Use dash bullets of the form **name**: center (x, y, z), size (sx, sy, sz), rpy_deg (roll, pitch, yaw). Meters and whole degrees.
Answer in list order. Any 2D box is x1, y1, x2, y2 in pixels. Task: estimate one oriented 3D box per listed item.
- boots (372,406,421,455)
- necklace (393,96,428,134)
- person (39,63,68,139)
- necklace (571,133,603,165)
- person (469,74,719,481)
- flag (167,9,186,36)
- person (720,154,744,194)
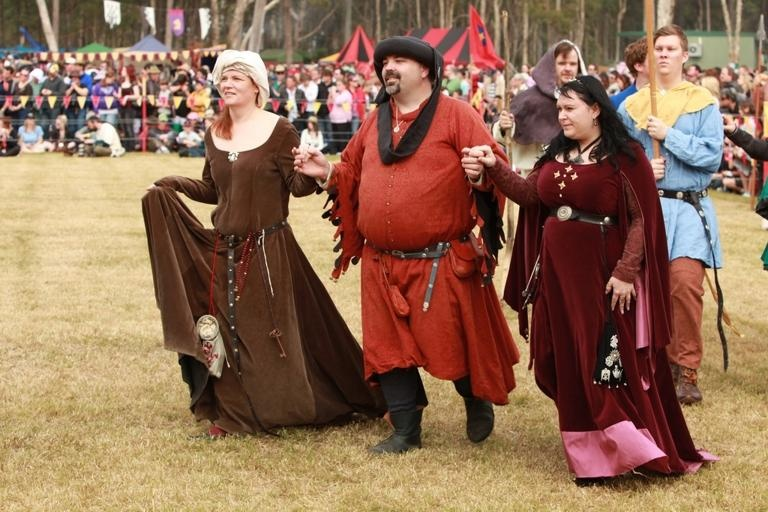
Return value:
- **boots**: center (0.046, 1.474, 10.962), size (0.591, 0.375, 0.222), rpy_deg (-1, 2, -18)
- **necklace**: center (0.167, -1.167, 10.950), size (0.172, 0.331, 0.248), rpy_deg (41, 14, -15)
- **person**: center (-4.740, -2.039, 18.142), size (0.298, 0.978, 0.324), rpy_deg (8, -5, 20)
- **necklace**: center (1.659, -0.868, 10.569), size (0.217, 0.267, 0.086), rpy_deg (10, -3, 41)
- **person**: center (1.752, 0.166, 10.511), size (1.588, 3.185, 0.836), rpy_deg (0, 12, 11)
- **flag**: center (-5.206, -5.870, 32.509), size (0.379, 0.648, 1.876), rpy_deg (-4, 12, -9)
- **person**: center (5.283, -1.208, 19.627), size (0.386, 0.854, 0.516), rpy_deg (-1, -2, 16)
